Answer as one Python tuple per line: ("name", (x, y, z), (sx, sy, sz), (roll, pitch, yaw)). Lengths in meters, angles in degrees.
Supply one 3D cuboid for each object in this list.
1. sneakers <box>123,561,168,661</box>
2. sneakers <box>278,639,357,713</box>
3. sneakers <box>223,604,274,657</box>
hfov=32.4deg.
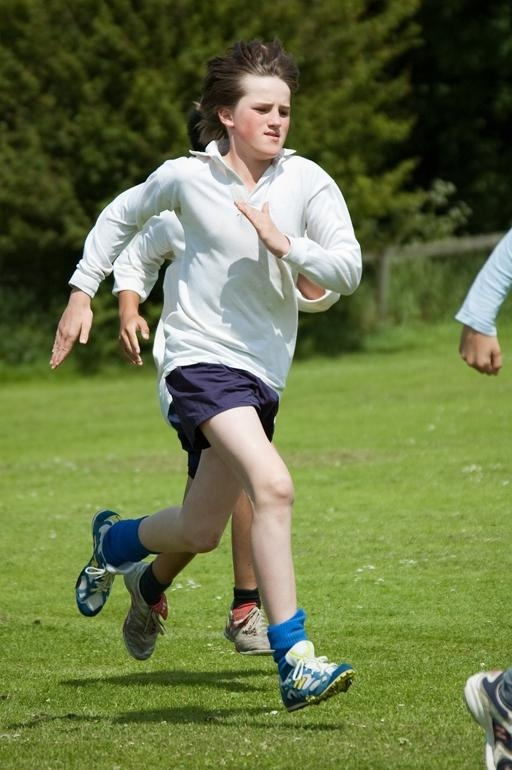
("sneakers", (-0.366, 0.743, 2.914), (0.125, 0.334, 0.144), (14, -30, -37))
("sneakers", (0.119, 0.637, 1.914), (0.090, 0.121, 0.230), (-31, 3, -37))
("sneakers", (-0.034, 0.818, 2.967), (0.116, 0.121, 0.278), (-1, 4, -30))
